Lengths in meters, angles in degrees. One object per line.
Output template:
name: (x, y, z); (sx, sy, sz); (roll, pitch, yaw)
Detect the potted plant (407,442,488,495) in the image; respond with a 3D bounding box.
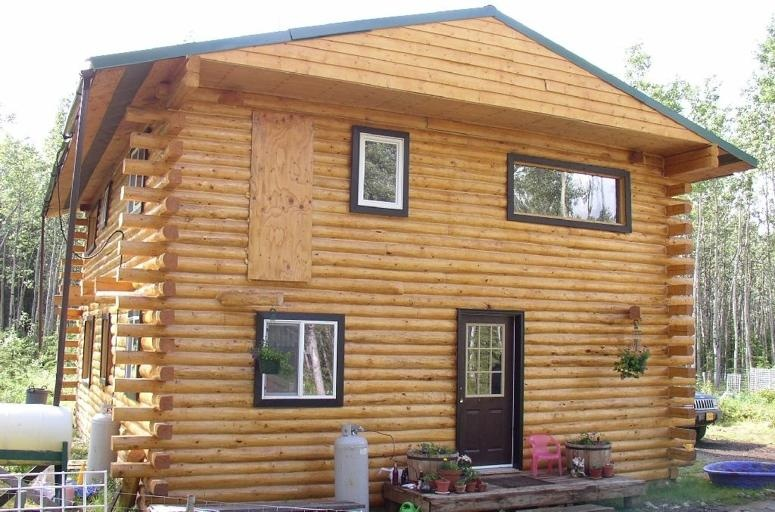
potted plant: (1.084, 4.054, 14.084); (1.441, 0.875, 0.398); (-1, -17, 3)

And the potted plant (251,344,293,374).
potted plant: (-2.219, 1.989, 14.018); (1.170, 0.458, 0.639); (4, -14, -9)

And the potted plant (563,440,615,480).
potted plant: (4.048, 4.228, 15.260); (1.117, 0.458, 0.861); (-3, -8, 19)
